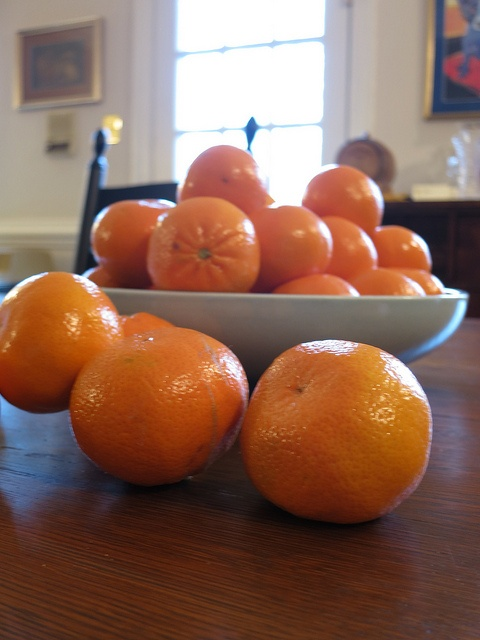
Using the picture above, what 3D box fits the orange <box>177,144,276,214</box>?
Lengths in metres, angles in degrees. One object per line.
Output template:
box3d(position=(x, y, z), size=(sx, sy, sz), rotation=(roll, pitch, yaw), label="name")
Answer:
box3d(position=(-0.013, -0.109, 0.506), size=(0.065, 0.066, 0.064), rotation=(-6, -3, -27), label="orange")

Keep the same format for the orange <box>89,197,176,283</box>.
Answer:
box3d(position=(-0.076, -0.057, 0.512), size=(0.085, 0.066, 0.076), rotation=(-2, -2, -4), label="orange")

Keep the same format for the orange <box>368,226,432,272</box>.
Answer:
box3d(position=(0.146, -0.065, 0.566), size=(0.056, 0.048, 0.044), rotation=(-9, 25, -11), label="orange")

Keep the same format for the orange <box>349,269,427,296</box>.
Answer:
box3d(position=(0.103, -0.026, 0.452), size=(0.028, 0.017, 0.035), rotation=(6, -6, 44), label="orange")

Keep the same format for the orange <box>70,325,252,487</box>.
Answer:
box3d(position=(-0.040, 0.042, 0.317), size=(0.086, 0.071, 0.099), rotation=(8, 14, 19), label="orange")

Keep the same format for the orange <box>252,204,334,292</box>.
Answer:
box3d(position=(0.042, -0.056, 0.457), size=(0.058, 0.057, 0.056), rotation=(-16, 22, -36), label="orange")

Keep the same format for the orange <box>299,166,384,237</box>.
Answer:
box3d(position=(0.080, -0.106, 0.535), size=(0.051, 0.049, 0.047), rotation=(-5, 17, 5), label="orange")

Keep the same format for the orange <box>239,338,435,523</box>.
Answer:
box3d(position=(0.044, 0.051, 0.293), size=(0.092, 0.073, 0.086), rotation=(3, 19, 34), label="orange")

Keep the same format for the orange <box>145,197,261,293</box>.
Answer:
box3d(position=(-0.021, -0.054, 0.464), size=(0.077, 0.065, 0.067), rotation=(-7, 14, 12), label="orange")
